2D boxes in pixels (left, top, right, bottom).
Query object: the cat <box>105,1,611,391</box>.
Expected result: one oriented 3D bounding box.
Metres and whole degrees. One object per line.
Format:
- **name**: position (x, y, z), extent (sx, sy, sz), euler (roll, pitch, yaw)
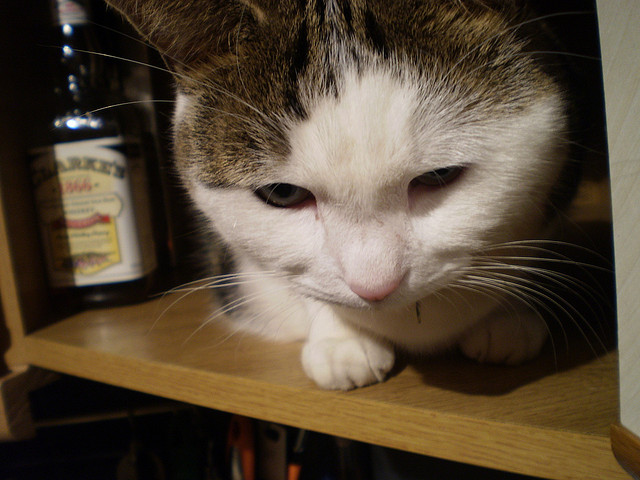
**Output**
- **cat**: position (0.125, -0.119, 1.128), extent (0.495, 0.513, 0.709), euler (-3, 10, 7)
